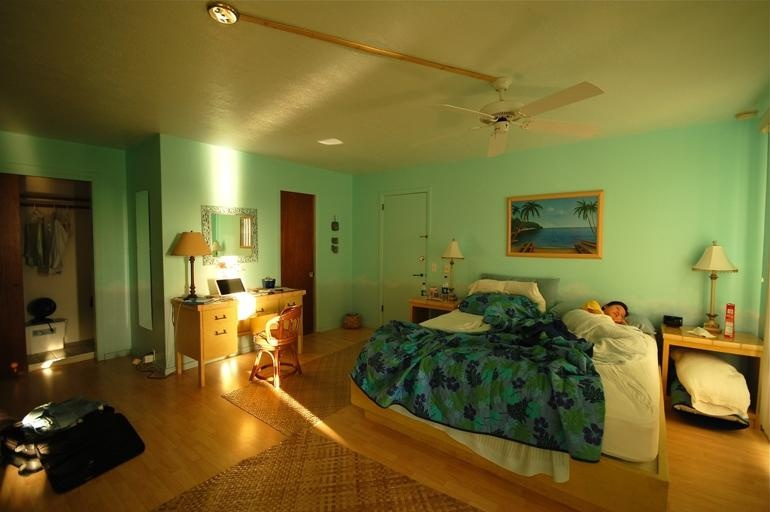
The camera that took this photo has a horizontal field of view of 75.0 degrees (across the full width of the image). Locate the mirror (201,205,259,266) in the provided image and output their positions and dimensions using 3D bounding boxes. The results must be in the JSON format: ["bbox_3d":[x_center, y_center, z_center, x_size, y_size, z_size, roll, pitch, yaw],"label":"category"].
[{"bbox_3d":[-2.069,-0.304,6.722,0.048,0.821,0.894,3,3,39],"label":"mirror"}]

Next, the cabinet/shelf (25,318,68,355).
[{"bbox_3d":[-4.622,1.075,6.774,0.257,0.384,0.464,5,7,38],"label":"cabinet/shelf"}]

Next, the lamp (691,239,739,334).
[{"bbox_3d":[3.722,0.328,5.666,0.428,1.032,0.331,1,3,33],"label":"lamp"}]

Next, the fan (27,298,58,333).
[{"bbox_3d":[-4.587,0.770,6.707,0.177,0.430,0.336,7,3,43],"label":"fan"}]

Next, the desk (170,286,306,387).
[{"bbox_3d":[-1.910,0.951,6.723,0.616,0.897,1.740,5,7,33],"label":"desk"}]

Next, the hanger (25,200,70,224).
[{"bbox_3d":[-4.621,-0.636,6.819,0.384,0.241,0.028,-2,6,-45],"label":"hanger"}]

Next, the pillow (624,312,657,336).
[{"bbox_3d":[2.980,0.772,5.859,0.261,0.073,0.279,-4,10,-12],"label":"pillow"}]

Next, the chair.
[{"bbox_3d":[-1.340,1.070,6.181,0.640,0.848,0.625,3,3,41],"label":"chair"}]

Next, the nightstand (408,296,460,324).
[{"bbox_3d":[0.752,0.739,7.261,0.592,0.521,0.417,4,9,41],"label":"nightstand"}]

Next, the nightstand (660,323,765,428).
[{"bbox_3d":[3.554,1.222,5.529,0.984,0.891,0.998,-1,-1,41],"label":"nightstand"}]

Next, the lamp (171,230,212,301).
[{"bbox_3d":[-2.417,0.081,6.215,0.464,0.849,0.398,-1,2,-23],"label":"lamp"}]

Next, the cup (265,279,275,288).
[{"bbox_3d":[-1.600,0.363,6.994,0.116,0.099,0.114,2,2,0],"label":"cup"}]
